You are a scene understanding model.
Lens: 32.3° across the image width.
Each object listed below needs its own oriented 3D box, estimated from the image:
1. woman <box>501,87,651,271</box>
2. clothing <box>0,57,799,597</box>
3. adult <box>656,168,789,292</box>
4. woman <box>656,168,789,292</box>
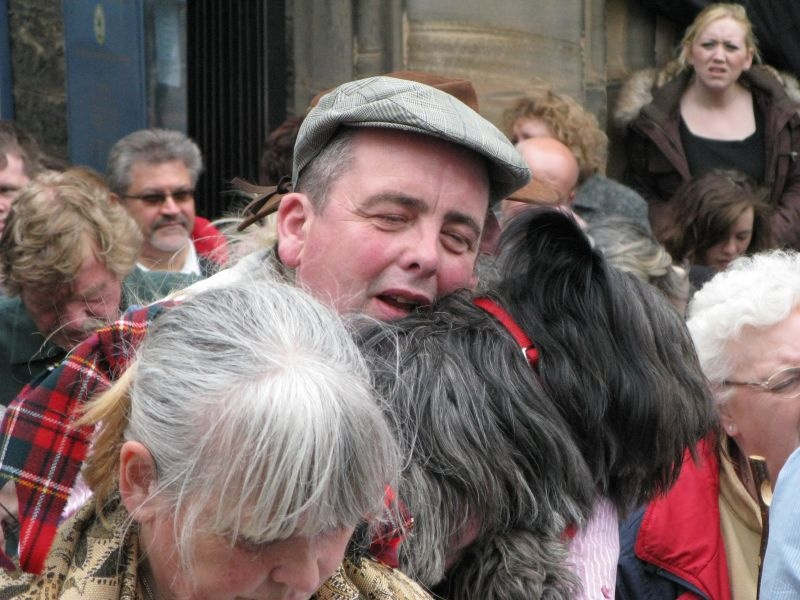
[{"bbox_3d":[1.114,-0.690,7.564,0.622,0.484,0.951,2,-16,-29],"label":"woman"},{"bbox_3d":[-0.457,0.200,5.585,2.179,2.200,1.702,1,-17,25],"label":"clothing"},{"bbox_3d":[1.698,-0.400,7.487,0.598,0.707,0.550,9,36,7],"label":"adult"},{"bbox_3d":[1.708,-0.385,7.486,0.629,0.721,0.583,16,36,21],"label":"woman"}]
